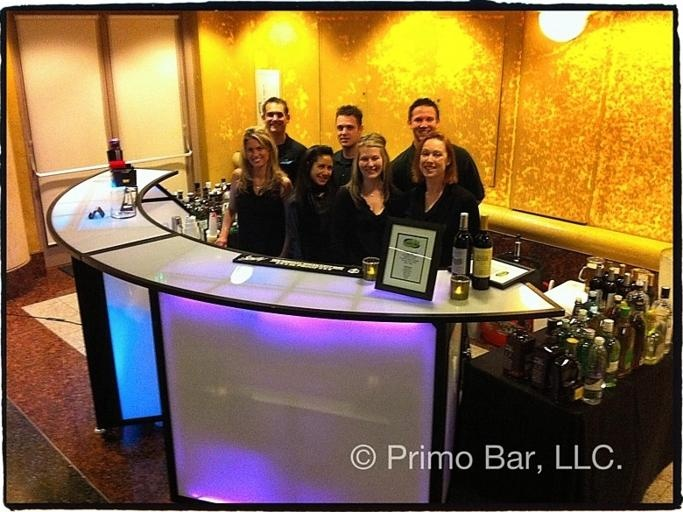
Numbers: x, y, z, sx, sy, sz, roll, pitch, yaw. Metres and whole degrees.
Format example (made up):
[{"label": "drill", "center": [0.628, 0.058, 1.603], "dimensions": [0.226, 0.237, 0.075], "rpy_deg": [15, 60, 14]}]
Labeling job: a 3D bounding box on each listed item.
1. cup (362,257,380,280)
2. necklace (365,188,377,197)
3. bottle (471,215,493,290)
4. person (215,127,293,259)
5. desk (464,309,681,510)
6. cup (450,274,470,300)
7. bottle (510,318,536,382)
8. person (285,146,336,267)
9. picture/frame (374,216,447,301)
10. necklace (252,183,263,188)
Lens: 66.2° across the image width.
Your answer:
[{"label": "cup", "center": [0.153, 0.070, 2.741], "dimensions": [0.105, 0.108, 0.107], "rpy_deg": [2, 23, -1]}, {"label": "necklace", "center": [0.215, -0.440, 3.696], "dimensions": [0.054, 0.047, 0.036], "rpy_deg": [1, -5, -13]}, {"label": "bottle", "center": [0.711, -0.032, 2.622], "dimensions": [0.103, 0.387, 0.232], "rpy_deg": [5, 18, 15]}, {"label": "person", "center": [-0.673, -0.507, 4.179], "dimensions": [0.751, 0.996, 0.319], "rpy_deg": [8, 20, 25]}, {"label": "desk", "center": [1.257, 0.961, 2.810], "dimensions": [1.186, 0.890, 0.506], "rpy_deg": [0, 18, 0]}, {"label": "cup", "center": [0.570, 0.153, 2.570], "dimensions": [0.115, 0.112, 0.103], "rpy_deg": [-1, 19, -3]}, {"label": "bottle", "center": [0.941, 0.501, 2.727], "dimensions": [0.138, 0.272, 0.131], "rpy_deg": [-5, 23, 2]}, {"label": "person", "center": [-0.240, -0.376, 3.942], "dimensions": [0.390, 0.879, 0.207], "rpy_deg": [-2, 18, -4]}, {"label": "picture/frame", "center": [0.346, 0.025, 2.581], "dimensions": [0.416, 0.474, 0.035], "rpy_deg": [15, 16, 20]}, {"label": "necklace", "center": [-0.658, -0.540, 4.111], "dimensions": [0.068, 0.034, 0.037], "rpy_deg": [0, 17, 0]}]
